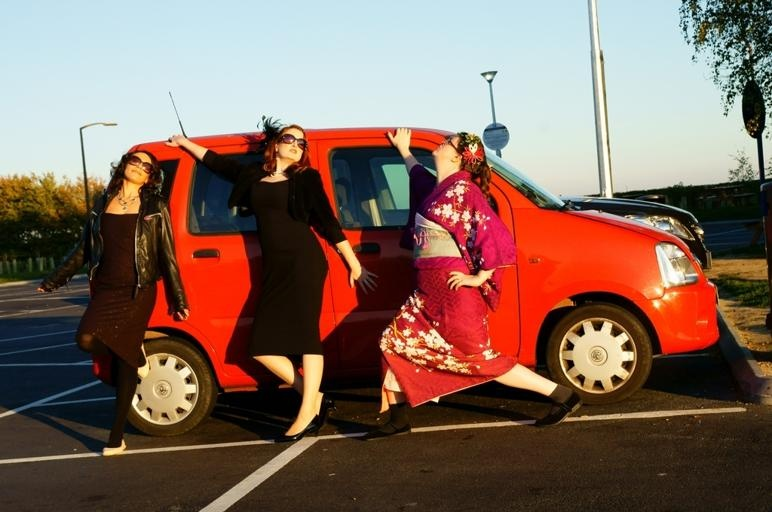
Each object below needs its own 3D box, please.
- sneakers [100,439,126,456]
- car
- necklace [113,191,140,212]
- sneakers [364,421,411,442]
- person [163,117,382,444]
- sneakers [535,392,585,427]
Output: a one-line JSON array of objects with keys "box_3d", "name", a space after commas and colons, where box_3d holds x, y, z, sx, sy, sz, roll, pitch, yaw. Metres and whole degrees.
[{"box_3d": [-2.437, 1.718, 5.711, 0.114, 0.081, 0.202, -3, -3, 13], "name": "sneakers"}, {"box_3d": [0.464, 0.000, 7.083, 5.701, 2.707, 2.783, -4, 1, 3], "name": "car"}, {"box_3d": [-2.320, -0.464, 5.702, 0.187, 0.188, 0.042, 1, -17, 2], "name": "necklace"}, {"box_3d": [0.024, 1.538, 5.647, 0.485, 0.174, 0.163, 0, -2, -9], "name": "sneakers"}, {"box_3d": [-0.838, 0.196, 5.802, 1.487, 2.922, 0.624, -4, 5, 6], "name": "person"}, {"box_3d": [1.574, 1.374, 5.665, 0.352, 0.149, 0.126, -36, 24, 18], "name": "sneakers"}]
